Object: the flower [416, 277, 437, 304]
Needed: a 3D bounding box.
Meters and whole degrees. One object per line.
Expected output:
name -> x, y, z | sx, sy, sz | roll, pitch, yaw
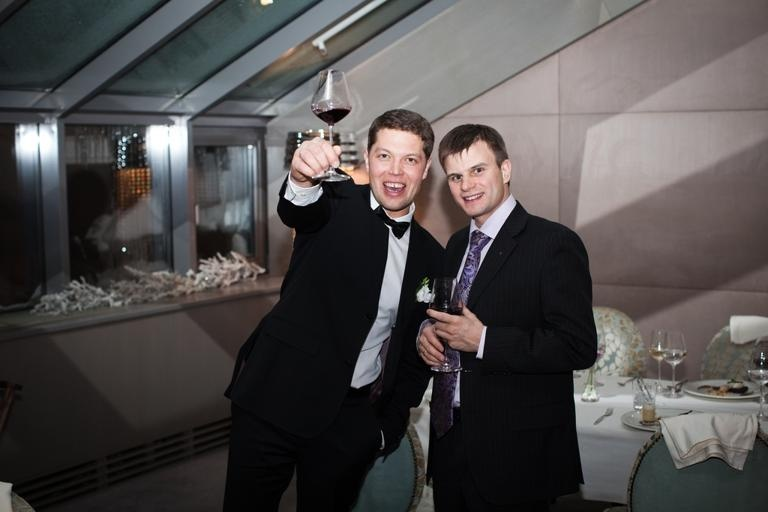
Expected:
flower -> 0.195, 0.150, 2.329 | 0.096, 0.104, 0.048 | 1, -13, 40
